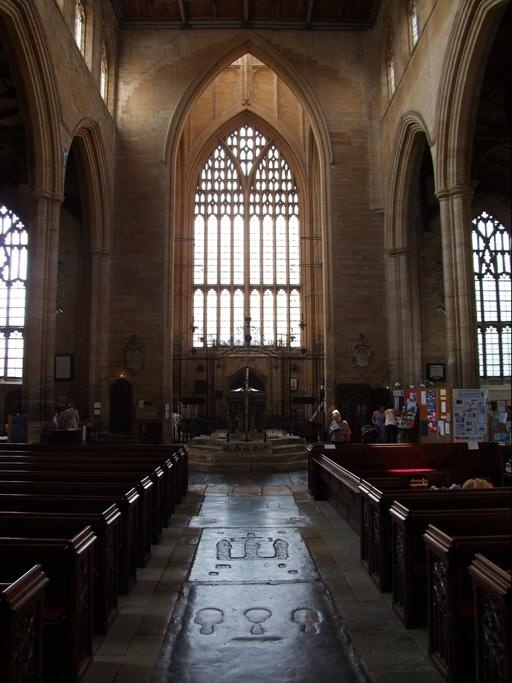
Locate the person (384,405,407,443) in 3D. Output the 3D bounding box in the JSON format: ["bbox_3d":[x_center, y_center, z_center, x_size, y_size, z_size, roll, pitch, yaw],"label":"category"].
[{"bbox_3d":[2.949,1.849,12.951,0.374,0.750,1.348,-2,-5,13],"label":"person"}]

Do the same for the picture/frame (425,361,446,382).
[{"bbox_3d":[5.263,0.936,17.619,0.534,0.638,0.086,2,-11,4],"label":"picture/frame"}]

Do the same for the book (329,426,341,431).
[{"bbox_3d":[1.358,1.528,10.434,0.091,0.113,0.219,2,-5,-23],"label":"book"}]

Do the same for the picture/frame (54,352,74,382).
[{"bbox_3d":[-5.962,0.842,18.707,0.544,0.863,0.412,2,-6,-22],"label":"picture/frame"}]
